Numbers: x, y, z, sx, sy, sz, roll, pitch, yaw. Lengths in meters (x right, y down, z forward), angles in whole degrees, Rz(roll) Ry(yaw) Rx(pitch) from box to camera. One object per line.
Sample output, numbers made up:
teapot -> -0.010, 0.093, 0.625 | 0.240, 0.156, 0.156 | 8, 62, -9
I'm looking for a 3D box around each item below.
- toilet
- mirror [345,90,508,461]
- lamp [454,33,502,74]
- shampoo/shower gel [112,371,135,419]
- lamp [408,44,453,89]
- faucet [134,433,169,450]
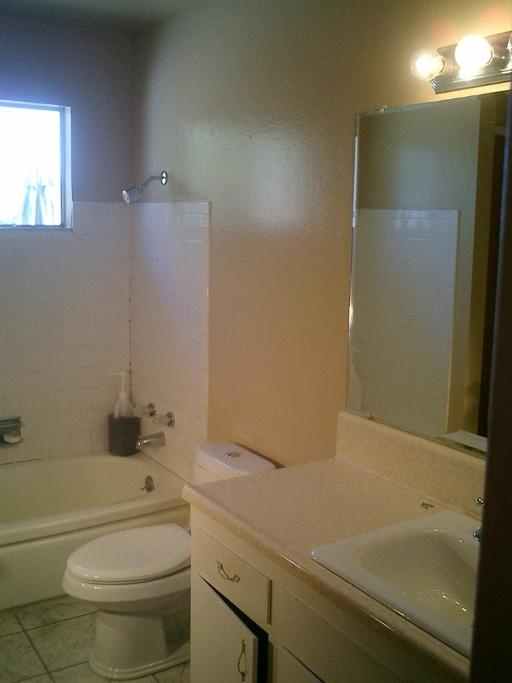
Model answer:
toilet -> -0.329, 0.898, 2.419 | 1.011, 0.999, 0.565 | 0, 3, -34
mirror -> 0.424, -0.197, 1.487 | 0.051, 0.922, 0.565 | -5, 7, -27
lamp -> 0.476, -0.631, 1.201 | 0.062, 0.070, 0.084 | -5, 11, 6
shampoo/shower gel -> -0.814, 0.323, 3.353 | 0.121, 0.260, 0.141 | -4, 7, -16
lamp -> 0.435, -0.694, 1.385 | 0.077, 0.128, 0.187 | -2, 7, 7
faucet -> -0.586, 0.570, 3.091 | 0.148, 0.111, 0.072 | -13, 19, -28
